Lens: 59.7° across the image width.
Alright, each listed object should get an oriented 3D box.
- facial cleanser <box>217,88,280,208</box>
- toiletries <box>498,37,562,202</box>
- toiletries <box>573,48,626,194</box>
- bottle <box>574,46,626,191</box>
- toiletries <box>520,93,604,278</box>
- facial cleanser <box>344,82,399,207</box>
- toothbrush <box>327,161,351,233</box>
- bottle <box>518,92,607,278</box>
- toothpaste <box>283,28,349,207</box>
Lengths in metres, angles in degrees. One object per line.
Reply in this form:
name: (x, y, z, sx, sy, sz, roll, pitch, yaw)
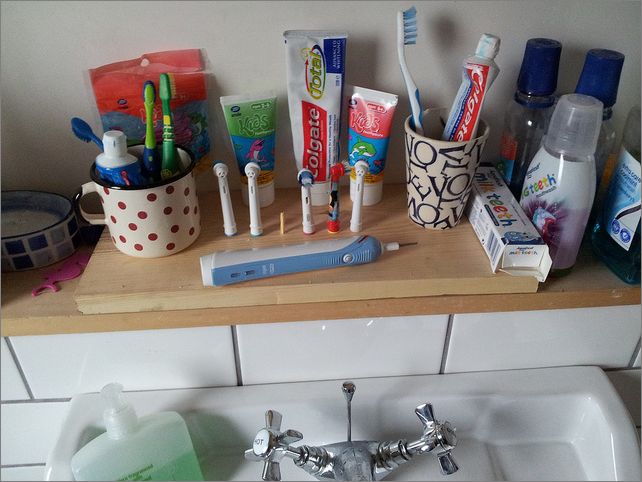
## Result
facial cleanser: (-0.110, -0.146, 0.842, 0.121, 0.232, 0.067, -10, 36, -15)
toiletries: (0.323, -0.174, 0.882, 0.071, 0.286, 0.072, 6, 43, 11)
toiletries: (0.382, -0.165, 0.817, 0.047, 0.210, 0.086, 7, 32, 11)
bottle: (0.389, -0.169, 0.794, 0.044, 0.194, 0.080, 8, 32, 11)
toiletries: (0.332, -0.083, 0.760, 0.082, 0.254, 0.117, -6, 32, -9)
facial cleanser: (0.074, -0.153, 0.850, 0.111, 0.199, 0.058, 22, 40, 28)
toothbrush: (0.026, -0.065, 0.824, 0.038, 0.098, 0.028, 8, 37, 12)
bottle: (0.336, -0.073, 0.782, 0.079, 0.241, 0.079, -2, 33, 1)
toothpaste: (-0.017, -0.165, 0.778, 0.099, 0.202, 0.065, 2, 33, 0)
